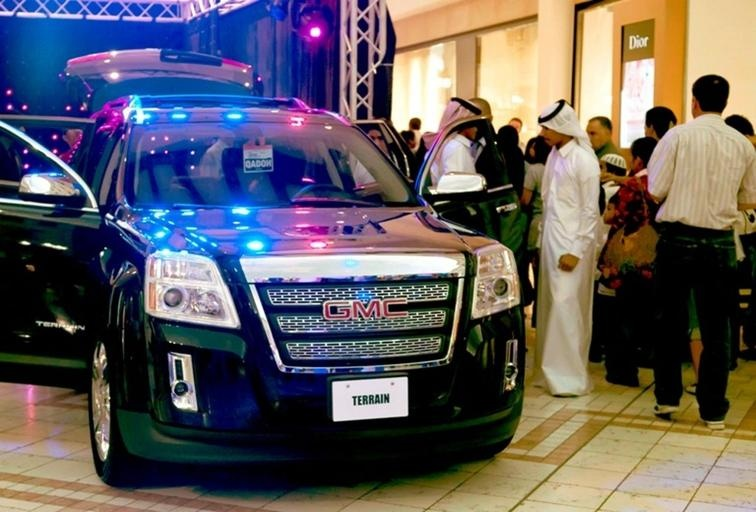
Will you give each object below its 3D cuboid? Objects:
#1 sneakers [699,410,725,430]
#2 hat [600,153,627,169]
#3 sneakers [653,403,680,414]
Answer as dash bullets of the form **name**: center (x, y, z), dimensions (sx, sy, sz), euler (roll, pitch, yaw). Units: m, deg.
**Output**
- **sneakers**: center (2.543, 1.231, 4.728), dimensions (0.086, 0.094, 0.228), euler (-1, 10, -7)
- **hat**: center (2.614, -1.030, 6.754), dimensions (0.210, 0.066, 0.218), euler (21, 12, 40)
- **sneakers**: center (2.292, 1.197, 4.909), dimensions (0.072, 0.077, 0.189), euler (1, -6, -36)
